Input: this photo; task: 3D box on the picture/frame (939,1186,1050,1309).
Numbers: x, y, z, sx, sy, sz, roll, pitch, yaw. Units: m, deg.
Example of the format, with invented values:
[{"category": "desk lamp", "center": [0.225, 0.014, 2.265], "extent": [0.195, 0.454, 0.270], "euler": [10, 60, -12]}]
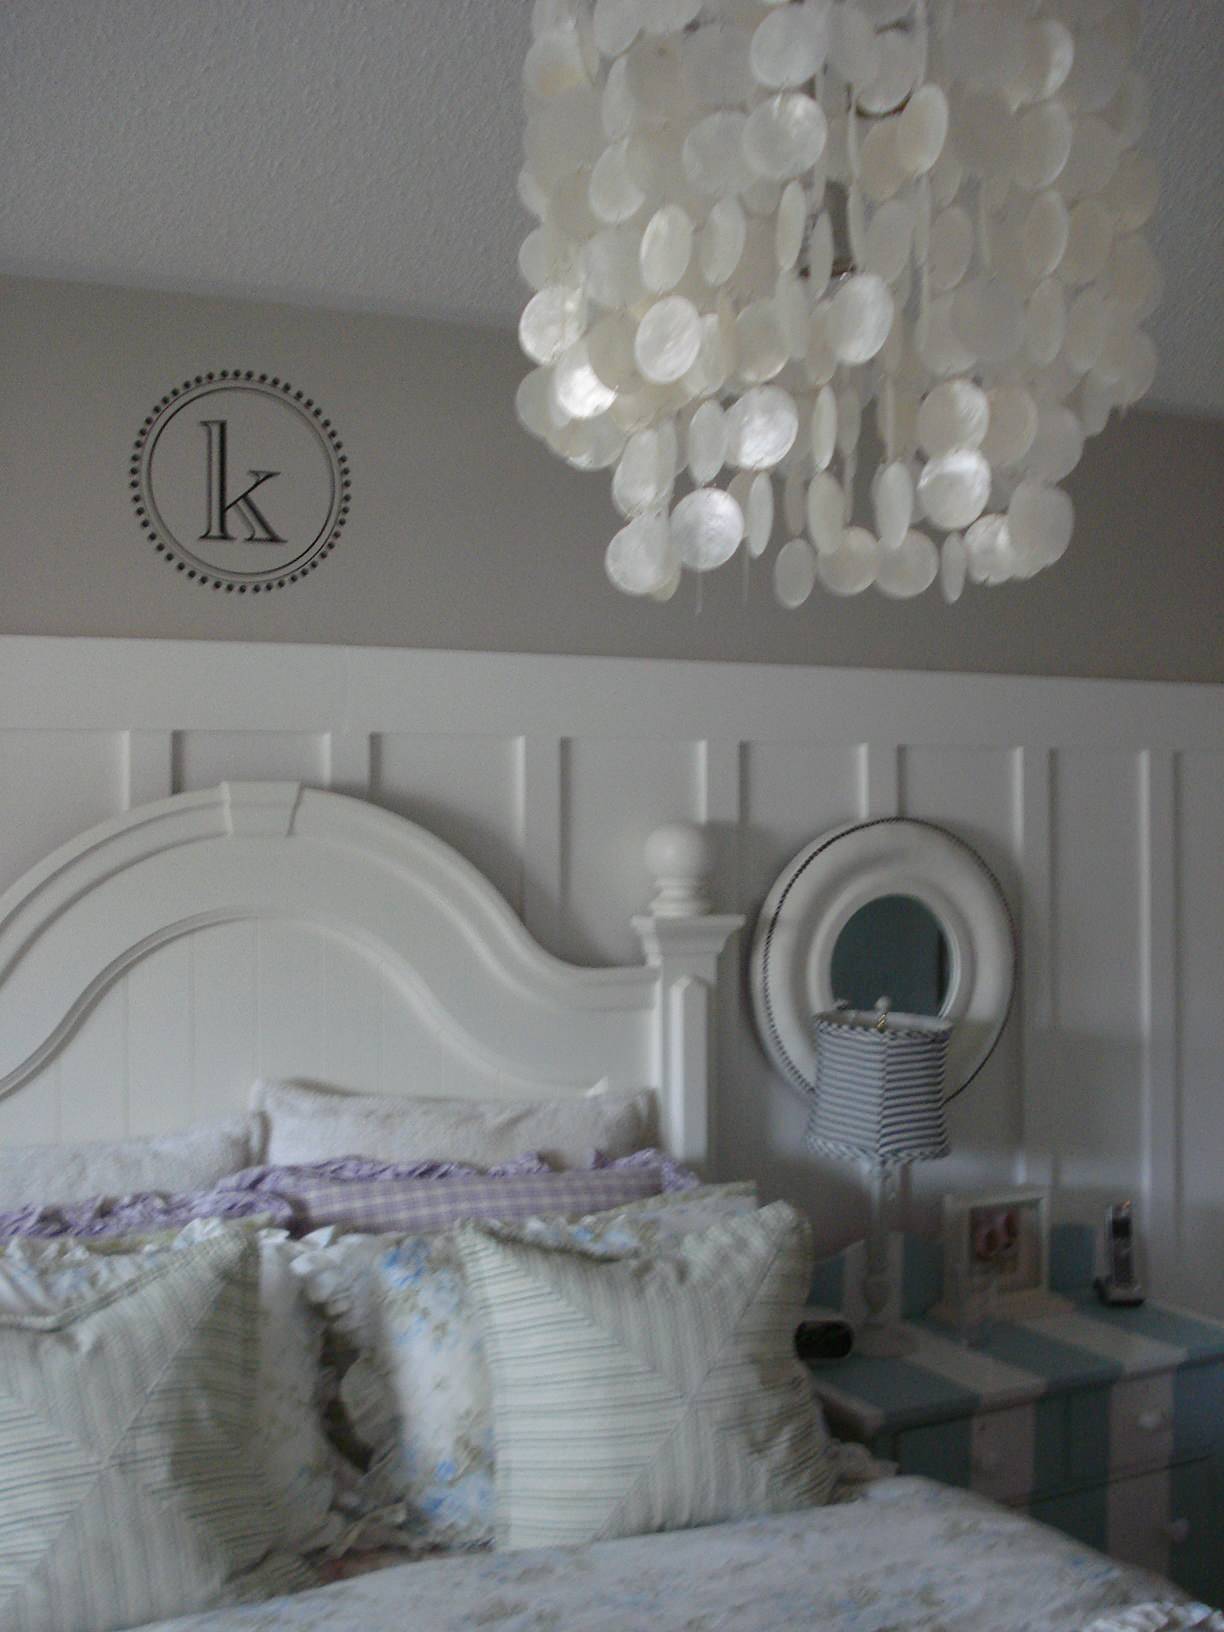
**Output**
[{"category": "picture/frame", "center": [0.699, 0.774, 2.882], "extent": [0.018, 0.235, 0.263], "euler": [26, -35, -22]}]
